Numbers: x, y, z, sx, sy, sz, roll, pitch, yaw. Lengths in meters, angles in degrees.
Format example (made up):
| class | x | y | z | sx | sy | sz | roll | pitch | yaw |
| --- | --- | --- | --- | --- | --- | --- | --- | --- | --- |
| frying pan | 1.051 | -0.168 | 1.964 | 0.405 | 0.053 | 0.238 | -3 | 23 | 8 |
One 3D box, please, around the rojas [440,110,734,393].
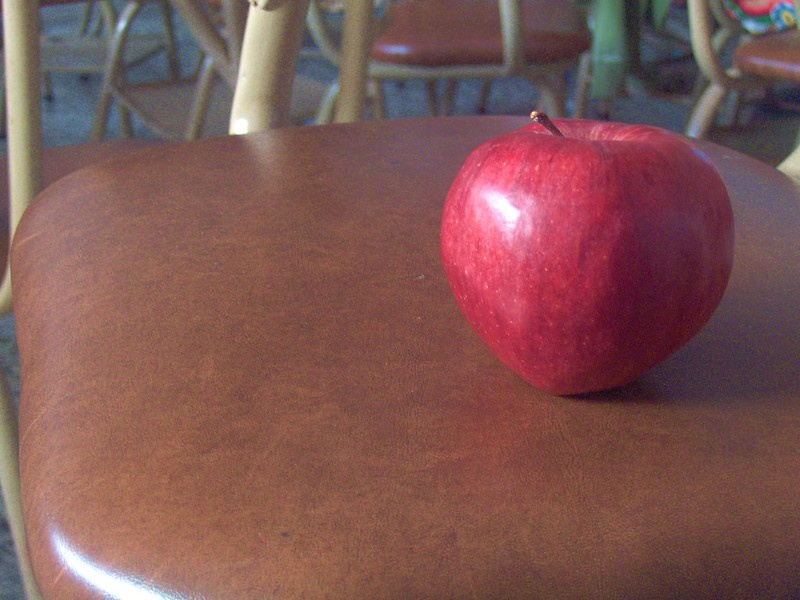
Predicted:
| class | x | y | z | sx | sy | sz | roll | pitch | yaw |
| --- | --- | --- | --- | --- | --- | --- | --- | --- | --- |
| rojas | 0.112 | -0.038 | 0.462 | 0.155 | 0.171 | 0.175 | 8 | 33 | 19 |
